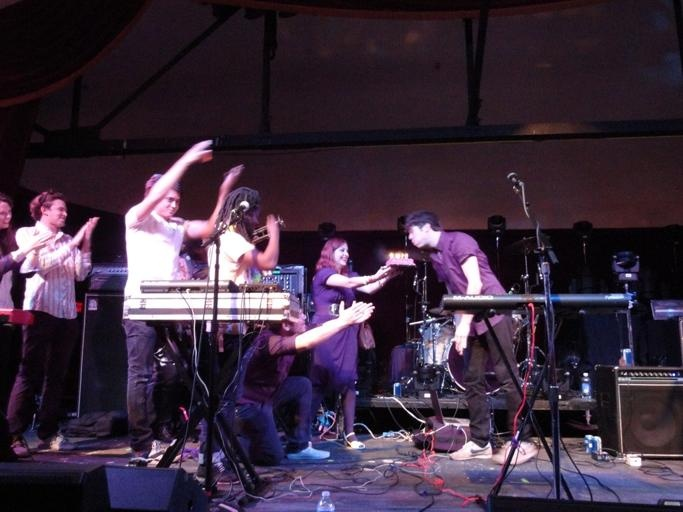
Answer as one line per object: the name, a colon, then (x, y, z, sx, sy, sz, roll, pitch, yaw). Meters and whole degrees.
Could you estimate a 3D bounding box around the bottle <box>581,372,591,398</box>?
bottle: (2.530, 1.333, 7.056, 0.113, 0.251, 0.356, -4, -9, 20)

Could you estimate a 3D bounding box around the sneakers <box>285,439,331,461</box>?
sneakers: (-0.265, 1.594, 5.597, 0.374, 0.173, 0.132, 2, -9, -5)

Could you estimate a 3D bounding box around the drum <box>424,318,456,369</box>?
drum: (1.086, 0.974, 7.663, 0.418, 0.469, 0.392, 9, -17, -24)

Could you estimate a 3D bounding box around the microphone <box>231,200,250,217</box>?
microphone: (-0.685, -0.321, 4.721, 0.079, 0.078, 0.138, 31, -46, -21)

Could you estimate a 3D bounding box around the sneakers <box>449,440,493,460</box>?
sneakers: (1.085, 1.621, 5.695, 0.372, 0.169, 0.142, 1, -14, -1)

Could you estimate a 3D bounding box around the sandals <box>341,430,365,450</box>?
sandals: (0.125, 1.648, 6.039, 0.081, 0.100, 0.242, 5, -21, -20)

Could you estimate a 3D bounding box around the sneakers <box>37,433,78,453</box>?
sneakers: (-2.385, 1.581, 5.745, 0.322, 0.151, 0.131, 1, -10, -6)

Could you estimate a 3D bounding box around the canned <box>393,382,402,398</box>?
canned: (0.618, 1.483, 7.481, 0.116, 0.232, 0.119, 1, -3, -3)

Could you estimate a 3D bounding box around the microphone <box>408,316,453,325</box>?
microphone: (1.071, 0.749, 7.883, 0.312, 0.082, 0.237, -4, -5, -18)
